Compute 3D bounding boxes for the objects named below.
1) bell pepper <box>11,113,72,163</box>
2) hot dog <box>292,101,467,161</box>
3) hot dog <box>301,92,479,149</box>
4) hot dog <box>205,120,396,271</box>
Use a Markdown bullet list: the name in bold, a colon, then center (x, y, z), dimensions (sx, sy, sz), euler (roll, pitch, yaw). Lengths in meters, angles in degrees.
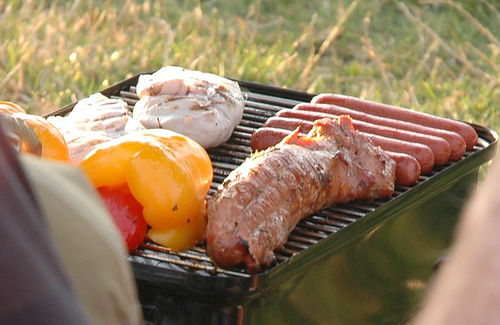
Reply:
- **bell pepper**: center (-0.772, -0.101, 2.776), dimensions (0.214, 0.177, 0.225), euler (-15, 26, -29)
- **hot dog**: center (0.566, -0.139, 3.298), dimensions (0.889, 0.169, 0.148), euler (14, 9, 24)
- **hot dog**: center (0.724, -0.212, 3.652), dimensions (0.883, 0.175, 0.169), euler (17, 80, 19)
- **hot dog**: center (0.203, 0.103, 2.990), dimensions (0.943, 0.254, 0.386), euler (-25, 59, -28)
